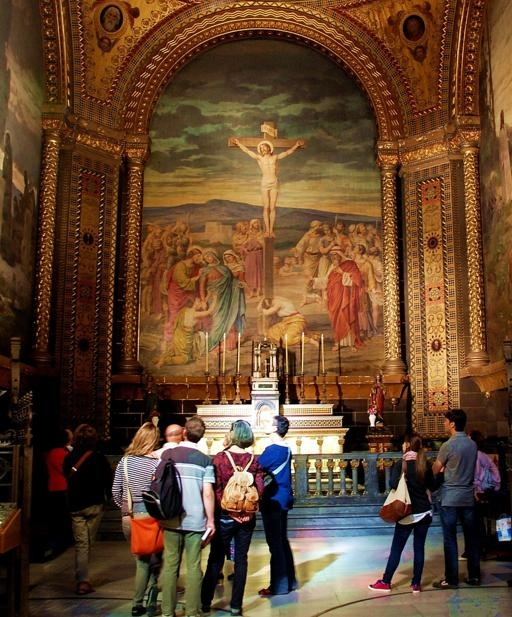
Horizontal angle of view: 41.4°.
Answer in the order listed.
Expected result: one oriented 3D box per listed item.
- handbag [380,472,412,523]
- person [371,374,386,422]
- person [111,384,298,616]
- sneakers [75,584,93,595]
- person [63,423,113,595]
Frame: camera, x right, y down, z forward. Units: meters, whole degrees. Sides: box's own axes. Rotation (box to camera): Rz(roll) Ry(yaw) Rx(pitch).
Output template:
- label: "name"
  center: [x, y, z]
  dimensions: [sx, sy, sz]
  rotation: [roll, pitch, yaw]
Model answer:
- label: "handbag"
  center: [1.146, 1.569, 5.579]
  dimensions: [0.187, 0.391, 0.252]
  rotation: [6, -15, -35]
- label: "person"
  center: [2.051, 1.524, 11.477]
  dimensions: [0.219, 0.795, 0.692]
  rotation: [-7, -13, 15]
- label: "person"
  center: [-0.262, 1.532, 5.019]
  dimensions: [0.734, 1.424, 1.221]
  rotation: [-10, -14, 28]
- label: "sneakers"
  center: [-1.420, 2.308, 5.584]
  dimensions: [0.131, 0.095, 0.117]
  rotation: [-1, -12, -12]
- label: "person"
  center: [-1.473, 1.711, 5.904]
  dimensions: [0.402, 1.384, 0.404]
  rotation: [-2, -13, -9]
